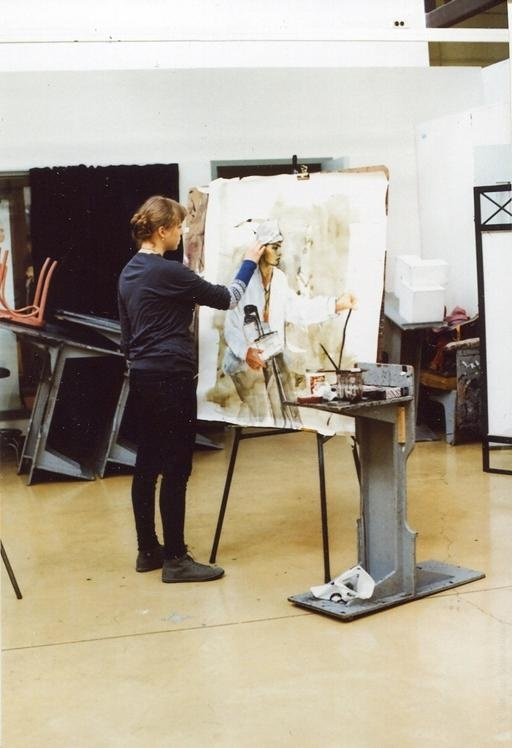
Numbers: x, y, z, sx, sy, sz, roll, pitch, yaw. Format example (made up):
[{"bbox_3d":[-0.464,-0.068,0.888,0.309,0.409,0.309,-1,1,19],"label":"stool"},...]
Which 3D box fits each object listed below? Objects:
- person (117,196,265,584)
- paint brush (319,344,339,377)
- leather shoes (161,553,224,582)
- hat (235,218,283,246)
[{"bbox_3d":[-0.300,0.065,2.726,0.281,1.382,0.384,-10,12,-41],"label":"person"},{"bbox_3d":[0.262,-0.052,2.704,0.019,0.120,0.017,-25,6,26],"label":"paint brush"},{"bbox_3d":[-0.246,0.708,2.789,0.260,0.120,0.088,-1,-4,-6],"label":"leather shoes"},{"bbox_3d":[0.006,-0.513,2.763,0.121,0.064,0.089,11,9,15],"label":"hat"}]
